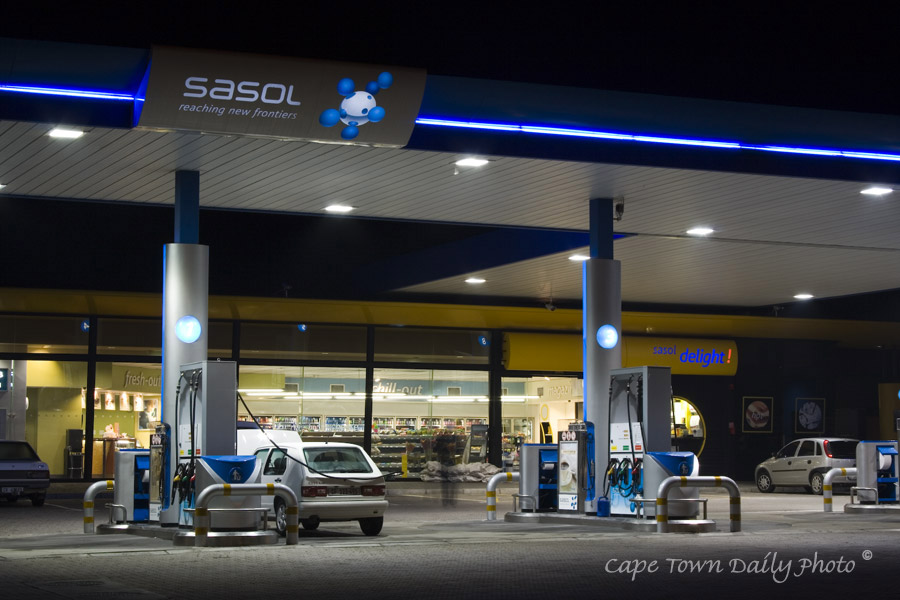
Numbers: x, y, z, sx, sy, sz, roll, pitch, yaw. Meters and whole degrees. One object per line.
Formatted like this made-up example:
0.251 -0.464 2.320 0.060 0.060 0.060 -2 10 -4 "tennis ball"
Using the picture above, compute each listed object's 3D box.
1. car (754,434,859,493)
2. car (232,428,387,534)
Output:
10.937 5.120 26.023 0.895 1.709 2.887 6 -10 -31 "car"
-2.553 3.185 15.188 1.677 1.111 2.765 2 -4 -24 "car"
